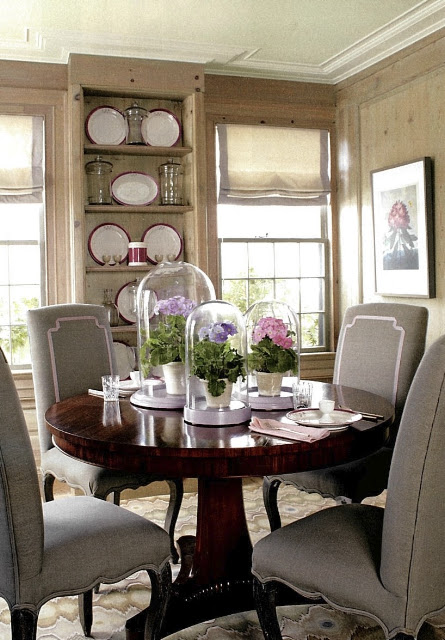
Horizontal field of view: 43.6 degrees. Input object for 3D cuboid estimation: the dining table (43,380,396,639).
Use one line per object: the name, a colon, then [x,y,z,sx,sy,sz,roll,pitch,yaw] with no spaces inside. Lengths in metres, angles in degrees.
dining table: [-0.071,0.579,1.600,0.910,0.561,0.858,-1,2,-6]

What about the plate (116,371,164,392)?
plate: [-0.364,0.253,2.233,0.117,0.034,0.118,4,8,36]

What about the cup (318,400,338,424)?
cup: [0.301,0.261,1.578,0.052,0.064,0.050,-2,6,0]

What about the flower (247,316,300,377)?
flower: [0.171,0.070,1.888,0.187,0.229,0.179,4,11,22]

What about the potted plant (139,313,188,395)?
potted plant: [-0.181,0.115,1.895,0.238,0.238,0.242,1,3,9]

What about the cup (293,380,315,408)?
cup: [0.257,0.232,1.796,0.080,0.085,0.075,-1,9,0]

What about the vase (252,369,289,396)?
vase: [0.154,0.205,1.853,0.093,0.070,0.084,-2,-4,41]
